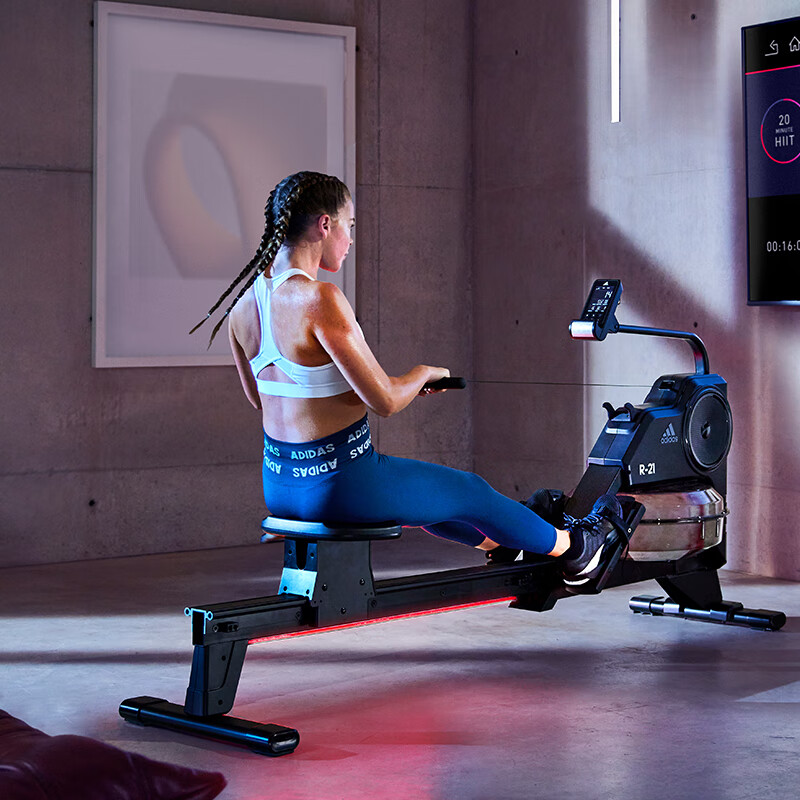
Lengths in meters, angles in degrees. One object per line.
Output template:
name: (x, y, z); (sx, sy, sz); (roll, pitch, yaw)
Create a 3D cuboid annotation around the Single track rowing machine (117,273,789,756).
Single track rowing machine: (0.276, 0.232, 3.089); (1.869, 1.121, 0.640); (-5, 4, -30)

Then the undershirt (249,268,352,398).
undershirt: (-0.281, -0.172, 2.582); (0.299, 0.292, 0.277); (-6, 7, -29)

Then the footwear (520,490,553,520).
footwear: (0.414, 0.322, 3.237); (0.107, 0.064, 0.035); (-5, -7, 34)

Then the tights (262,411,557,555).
tights: (0.132, 0.258, 2.824); (0.786, 0.450, 0.249); (1, -27, -23)

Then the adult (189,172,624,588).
adult: (0.036, -0.030, 2.898); (1.217, 1.105, 0.516); (1, 0, -33)

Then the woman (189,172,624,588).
woman: (0.019, -0.048, 2.903); (1.258, 1.081, 0.559); (1, 0, -39)
